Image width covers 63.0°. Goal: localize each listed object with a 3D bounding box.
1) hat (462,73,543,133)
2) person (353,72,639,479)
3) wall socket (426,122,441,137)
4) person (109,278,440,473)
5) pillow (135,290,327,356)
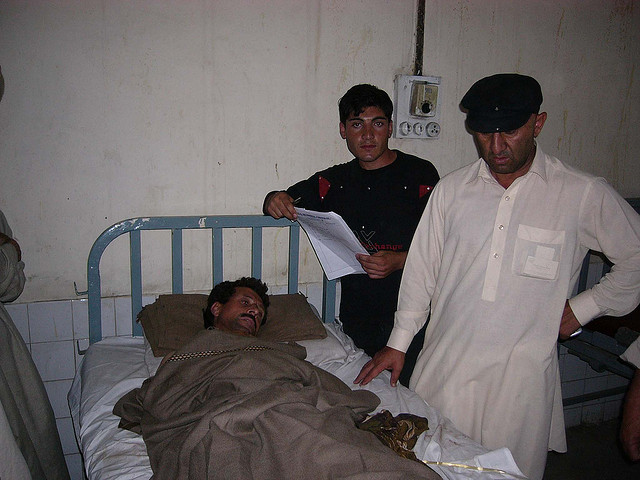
[{"bbox_3d":[0.733,-0.558,2.129,0.308,0.232,0.170,6,15,21],"label":"hat"},{"bbox_3d":[0.775,0.167,2.210,0.993,1.674,0.452,8,16,29],"label":"person"},{"bbox_3d":[0.685,-0.678,3.200,0.069,0.074,0.024,-24,22,-17],"label":"wall socket"},{"bbox_3d":[-0.226,0.690,2.201,1.379,0.376,0.689,4,15,14],"label":"person"},{"bbox_3d":[-0.484,0.423,2.811,0.694,0.208,0.449,-1,22,-17],"label":"pillow"}]
